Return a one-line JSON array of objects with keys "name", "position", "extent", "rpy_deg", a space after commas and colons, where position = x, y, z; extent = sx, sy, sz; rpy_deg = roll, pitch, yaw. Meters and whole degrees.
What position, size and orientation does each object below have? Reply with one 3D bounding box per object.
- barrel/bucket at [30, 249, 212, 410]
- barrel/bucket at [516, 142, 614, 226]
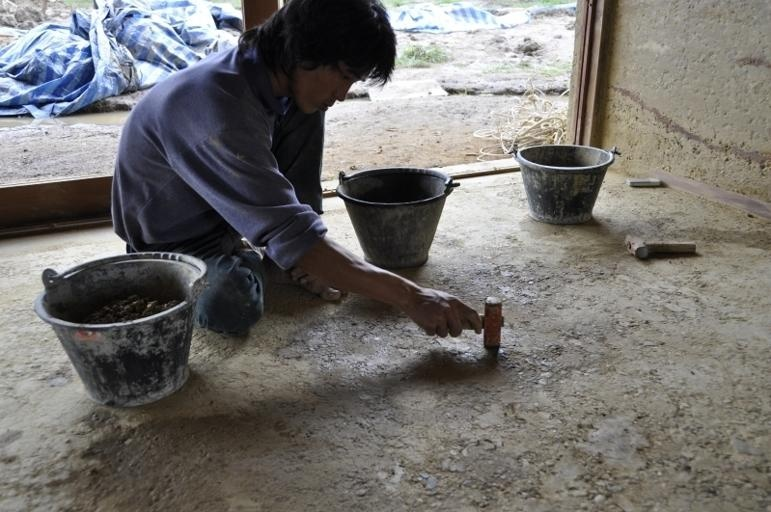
[{"name": "barrel/bucket", "position": [-1.124, 0.319, 2.821], "extent": [0.840, 0.611, 0.724], "rpy_deg": [4, 29, -1]}, {"name": "barrel/bucket", "position": [1.213, -0.519, 4.133], "extent": [0.644, 0.482, 0.497], "rpy_deg": [3, 29, 10]}]
